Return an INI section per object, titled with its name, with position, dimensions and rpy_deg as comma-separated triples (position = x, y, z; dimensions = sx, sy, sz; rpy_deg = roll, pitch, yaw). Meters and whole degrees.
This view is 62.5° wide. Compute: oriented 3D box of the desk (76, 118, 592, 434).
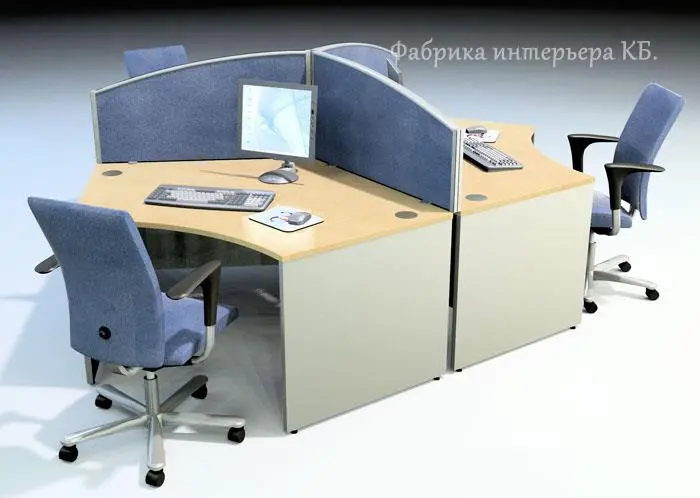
[desk]
position = -0.132, -0.324, 3.383
dimensions = 2.180, 0.728, 2.188
rpy_deg = 21, 31, 40

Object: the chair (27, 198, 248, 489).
[chair]
position = -0.990, 0.366, 2.811
dimensions = 0.908, 1.177, 0.917
rpy_deg = 7, 9, 19
